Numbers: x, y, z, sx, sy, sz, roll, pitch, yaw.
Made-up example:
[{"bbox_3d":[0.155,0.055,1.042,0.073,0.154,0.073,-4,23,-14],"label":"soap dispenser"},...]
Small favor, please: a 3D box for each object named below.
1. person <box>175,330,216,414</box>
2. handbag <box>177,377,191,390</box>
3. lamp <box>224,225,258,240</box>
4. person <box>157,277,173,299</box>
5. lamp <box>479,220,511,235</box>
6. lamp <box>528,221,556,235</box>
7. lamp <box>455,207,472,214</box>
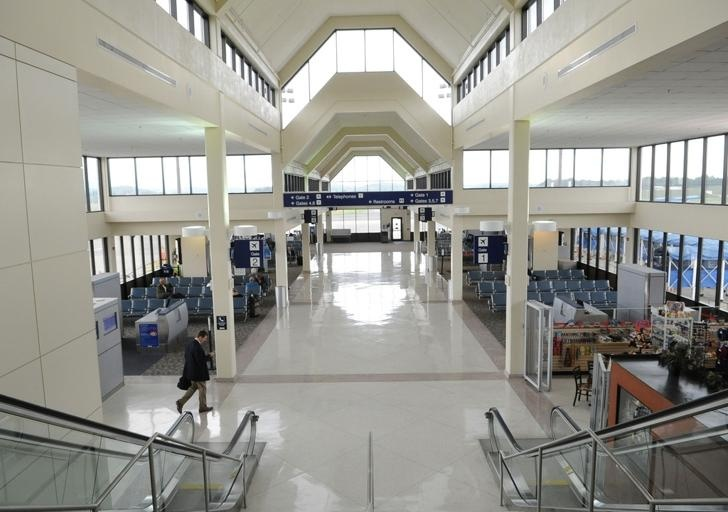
[{"bbox_3d":[-4.128,2.782,12.693,0.798,1.946,0.860,-2,5,-17],"label":"person"},{"bbox_3d":[-4.267,2.995,12.450,0.307,0.381,0.308,-2,5,-20],"label":"handbag"},{"bbox_3d":[-4.400,-0.864,18.762,1.028,0.363,1.033,3,6,35],"label":"lamp"},{"bbox_3d":[-8.574,1.411,22.453,0.729,1.093,0.619,-2,-3,-10],"label":"person"},{"bbox_3d":[4.974,-1.099,19.912,1.218,0.476,1.229,2,6,17],"label":"lamp"},{"bbox_3d":[7.459,-1.206,21.873,1.201,0.424,1.208,0,1,2],"label":"lamp"},{"bbox_3d":[4.276,-1.955,22.632,0.638,0.245,0.314,-2,5,-26],"label":"lamp"}]
